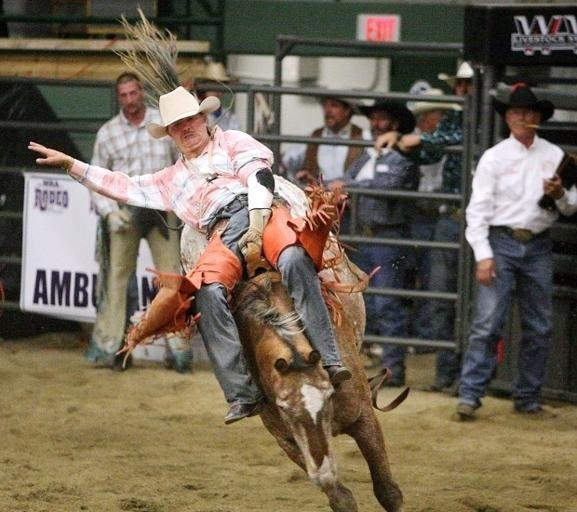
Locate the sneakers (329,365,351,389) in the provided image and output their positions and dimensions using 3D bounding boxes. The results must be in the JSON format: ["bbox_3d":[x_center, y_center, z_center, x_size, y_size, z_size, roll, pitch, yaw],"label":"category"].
[{"bbox_3d":[0.274,0.656,6.927,0.067,0.082,0.187,-27,-16,-8],"label":"sneakers"}]

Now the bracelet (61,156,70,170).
[{"bbox_3d":[-1.365,-0.567,7.775,0.057,0.066,0.027,1,10,-34],"label":"bracelet"}]

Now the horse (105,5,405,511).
[{"bbox_3d":[-0.119,0.504,7.400,1.599,1.955,1.228,2,2,10],"label":"horse"}]

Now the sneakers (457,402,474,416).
[{"bbox_3d":[1.244,1.085,8.946,0.141,0.124,0.179,2,2,8],"label":"sneakers"}]

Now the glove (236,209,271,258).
[{"bbox_3d":[-0.195,-0.134,7.243,0.193,0.251,0.125,-7,-30,36],"label":"glove"}]

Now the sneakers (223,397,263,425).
[{"bbox_3d":[-0.237,0.866,7.087,0.109,0.101,0.248,-6,-2,38],"label":"sneakers"}]

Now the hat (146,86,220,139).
[{"bbox_3d":[-0.667,-0.903,7.828,0.335,0.139,0.352,-25,9,11],"label":"hat"}]

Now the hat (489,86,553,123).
[{"bbox_3d":[1.633,-1.083,8.907,0.419,0.271,0.370,2,2,11],"label":"hat"}]

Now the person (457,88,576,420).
[{"bbox_3d":[1.593,0.037,8.893,0.743,2.235,0.259,2,2,10],"label":"person"}]
